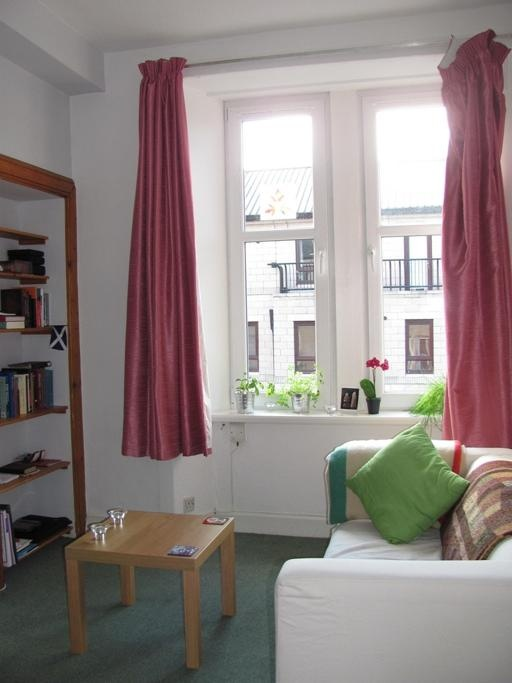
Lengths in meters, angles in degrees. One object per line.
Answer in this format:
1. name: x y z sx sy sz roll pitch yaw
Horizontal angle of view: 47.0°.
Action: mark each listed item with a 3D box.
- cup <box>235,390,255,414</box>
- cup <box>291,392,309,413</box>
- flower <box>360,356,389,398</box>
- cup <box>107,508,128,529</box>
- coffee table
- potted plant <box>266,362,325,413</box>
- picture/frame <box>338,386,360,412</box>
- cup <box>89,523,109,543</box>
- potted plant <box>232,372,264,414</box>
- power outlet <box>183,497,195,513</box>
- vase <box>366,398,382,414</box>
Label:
1. cup: -0.057 0.357 3.434 0.113 0.093 0.123 0 -5 0
2. cup: 0.265 0.367 3.496 0.108 0.121 0.107 -2 -4 0
3. flower: 0.685 0.207 3.390 0.153 0.226 0.255 -1 2 15
4. cup: -0.576 0.718 2.411 0.059 0.040 0.058 1 1 0
5. coffee table: -0.400 0.853 2.271 0.512 0.387 0.531 0 1 17
6. potted plant: 0.212 0.288 3.514 0.236 0.239 0.336 0 0 19
7. picture/frame: 0.538 0.336 3.400 0.134 0.172 0.017 1 -6 31
8. cup: -0.601 0.731 2.262 0.059 0.058 0.065 -6 -8 39
9. potted plant: -0.067 0.305 3.556 0.204 0.222 0.180 1 -7 -10
10. power outlet: -0.376 0.898 3.236 0.017 0.089 0.100 -2 -2 29
11. vase: 0.658 0.361 3.323 0.071 0.096 0.080 -1 2 6
